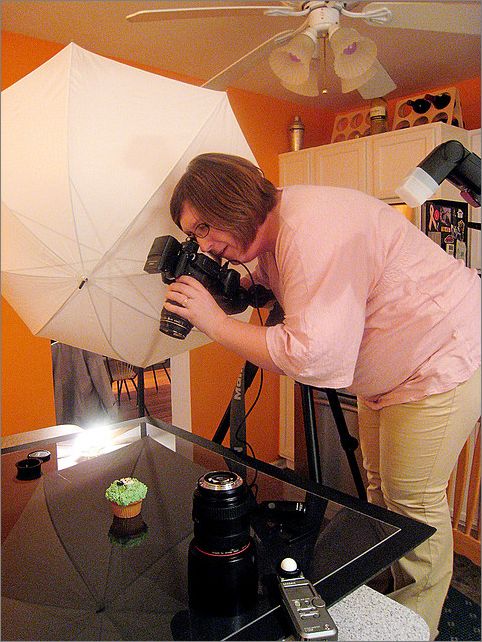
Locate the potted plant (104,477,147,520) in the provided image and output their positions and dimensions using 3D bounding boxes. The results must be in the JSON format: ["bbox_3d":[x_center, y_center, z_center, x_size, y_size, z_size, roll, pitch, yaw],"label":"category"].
[{"bbox_3d":[-0.222,0.330,0.891,0.055,0.063,0.066,1,7,3],"label":"potted plant"}]

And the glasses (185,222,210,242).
[{"bbox_3d":[-0.093,-0.190,1.013,0.031,0.013,0.039,-49,-5,30],"label":"glasses"}]

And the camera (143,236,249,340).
[{"bbox_3d":[-0.123,-0.073,1.079,0.215,0.226,0.131,33,-18,-6],"label":"camera"}]

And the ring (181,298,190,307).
[{"bbox_3d":[-0.115,-0.038,0.982,0.004,0.017,0.015,21,-17,-12],"label":"ring"}]

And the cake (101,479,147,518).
[{"bbox_3d":[-0.224,0.327,0.892,0.054,0.063,0.064,1,6,1],"label":"cake"}]
